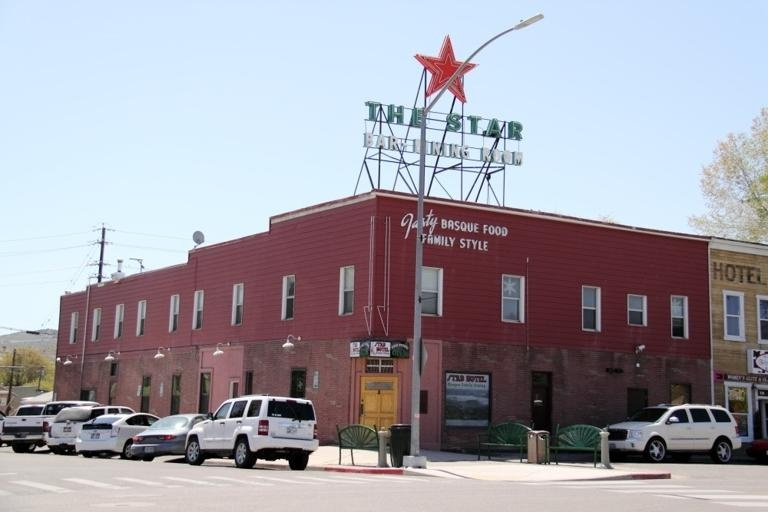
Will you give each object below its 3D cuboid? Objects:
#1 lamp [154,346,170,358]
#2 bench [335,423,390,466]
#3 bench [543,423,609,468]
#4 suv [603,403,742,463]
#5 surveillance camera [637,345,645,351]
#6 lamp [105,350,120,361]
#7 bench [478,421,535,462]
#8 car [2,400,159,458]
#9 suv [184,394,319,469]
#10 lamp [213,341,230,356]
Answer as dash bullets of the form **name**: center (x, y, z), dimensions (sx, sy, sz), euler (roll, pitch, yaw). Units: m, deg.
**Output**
- **lamp**: center (-13.133, 5.739, 42.713), dimensions (1.288, 0.774, 0.677), euler (4, -15, -13)
- **bench**: center (-0.705, 7.073, 26.980), dimensions (2.125, 1.513, 0.927), euler (-12, -15, 43)
- **bench**: center (7.266, 7.189, 27.758), dimensions (2.352, 1.358, 0.784), euler (7, -11, -31)
- **suv**: center (11.825, 7.199, 29.394), dimensions (5.691, 2.303, 1.103), euler (7, -18, -22)
- **surveillance camera**: center (12.690, 4.505, 35.539), dimensions (0.446, 0.347, 0.187), euler (12, -20, -35)
- **lamp**: center (-17.705, 6.563, 47.062), dimensions (1.157, 0.719, 0.644), euler (9, -24, -28)
- **bench**: center (4.805, 7.340, 28.611), dimensions (0.751, 1.352, 2.149), euler (8, -15, -42)
- **car**: center (-15.401, 7.904, 33.592), dimensions (6.400, 2.426, 1.627), euler (-11, -20, 34)
- **suv**: center (-5.124, 6.253, 25.637), dimensions (5.342, 2.374, 1.826), euler (-9, -19, 29)
- **lamp**: center (-8.826, 4.947, 38.687), dimensions (0.518, 0.725, 1.446), euler (13, -20, -35)
